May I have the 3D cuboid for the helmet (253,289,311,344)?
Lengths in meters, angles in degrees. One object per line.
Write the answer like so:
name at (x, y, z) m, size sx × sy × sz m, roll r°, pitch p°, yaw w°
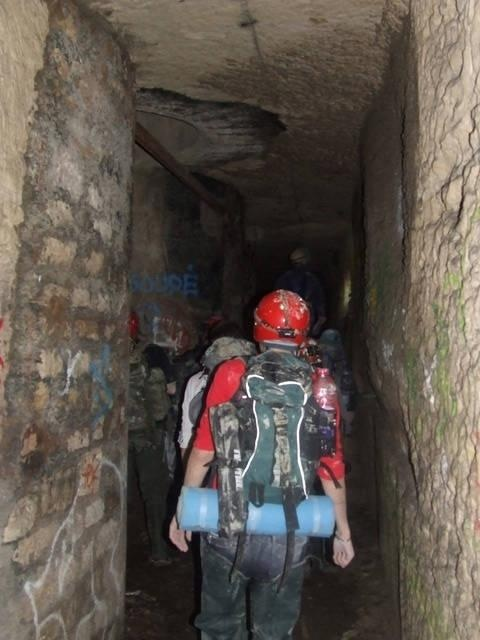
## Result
helmet at (0.157, -0.006, 2.507) m, size 0.149 × 0.201 × 0.211 m, roll 5°, pitch 15°, yaw -5°

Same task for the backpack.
backpack at (0.126, 0.361, 2.302) m, size 0.238 × 0.179 × 0.507 m, roll 2°, pitch 88°, yaw -7°
